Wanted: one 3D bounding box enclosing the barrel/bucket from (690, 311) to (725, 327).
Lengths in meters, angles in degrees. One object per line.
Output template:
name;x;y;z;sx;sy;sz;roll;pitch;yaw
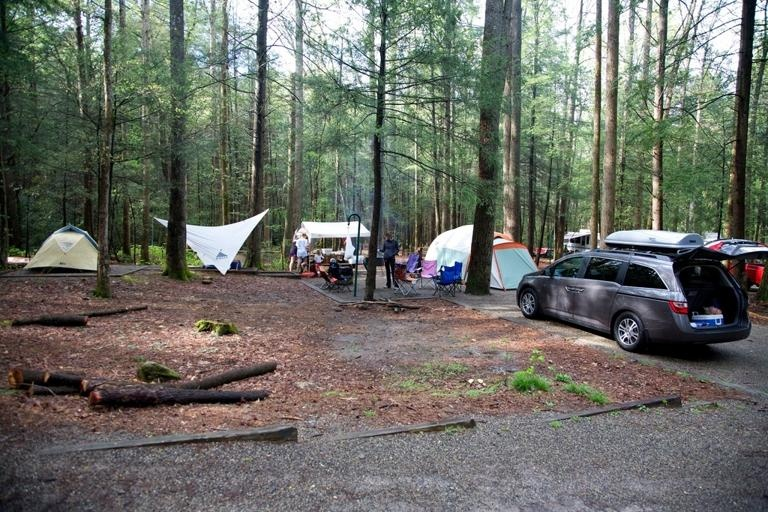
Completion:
barrel/bucket;7.073;1.415;12.808;0.895;0.282;0.122;-2;3;-20

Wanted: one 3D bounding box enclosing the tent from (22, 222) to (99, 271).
tent;-10.992;-0.197;20.444;2.573;1.388;2.392;1;2;-13

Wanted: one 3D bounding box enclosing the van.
van;5.785;0.543;14.699;2.407;2.195;5.233;1;7;-26

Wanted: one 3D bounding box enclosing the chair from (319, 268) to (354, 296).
chair;-1.558;0.890;20.231;1.127;0.731;0.663;-6;10;-34

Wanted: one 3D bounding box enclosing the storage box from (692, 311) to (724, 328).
storage box;7.074;1.414;12.783;0.488;0.175;0.377;1;1;22

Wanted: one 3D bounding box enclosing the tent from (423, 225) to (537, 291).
tent;3.385;0.006;21.989;2.572;1.273;3.462;0;2;-23

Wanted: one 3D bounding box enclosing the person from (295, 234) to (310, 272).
person;-3.510;-0.176;25.087;0.475;1.614;0.606;-2;3;-11
